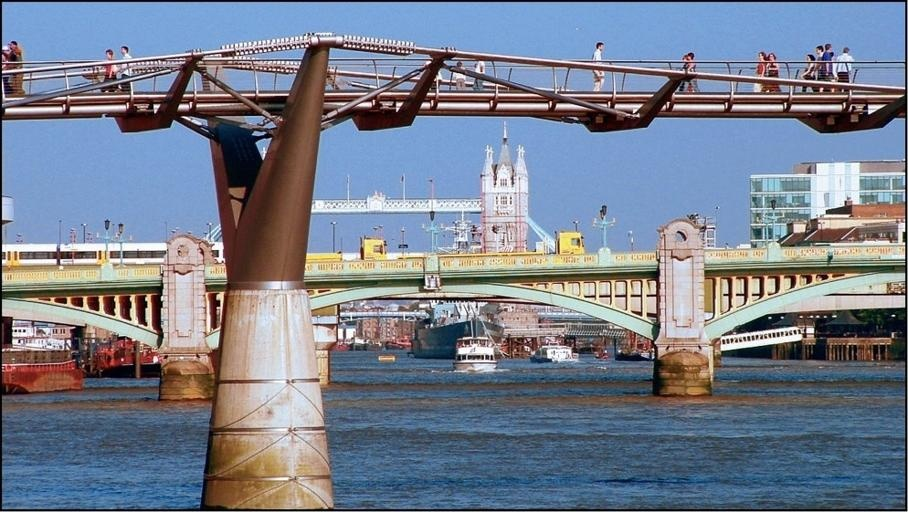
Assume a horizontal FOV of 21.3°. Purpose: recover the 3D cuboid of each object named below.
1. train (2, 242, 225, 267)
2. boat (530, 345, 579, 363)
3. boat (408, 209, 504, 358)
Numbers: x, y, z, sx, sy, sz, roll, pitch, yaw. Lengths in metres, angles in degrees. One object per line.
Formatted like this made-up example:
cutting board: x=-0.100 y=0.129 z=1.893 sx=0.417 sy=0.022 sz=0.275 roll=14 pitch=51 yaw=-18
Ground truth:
train: x=-30.142 y=-0.047 z=211.000 sx=20.318 sy=2.474 sz=2.259 roll=-1 pitch=0 yaw=-7
boat: x=10.063 y=9.874 z=240.994 sx=4.133 sy=1.540 sz=4.963 roll=0 pitch=-3 yaw=-27
boat: x=4.469 y=7.990 z=268.935 sx=7.257 sy=11.226 sz=19.984 roll=1 pitch=-5 yaw=-7
